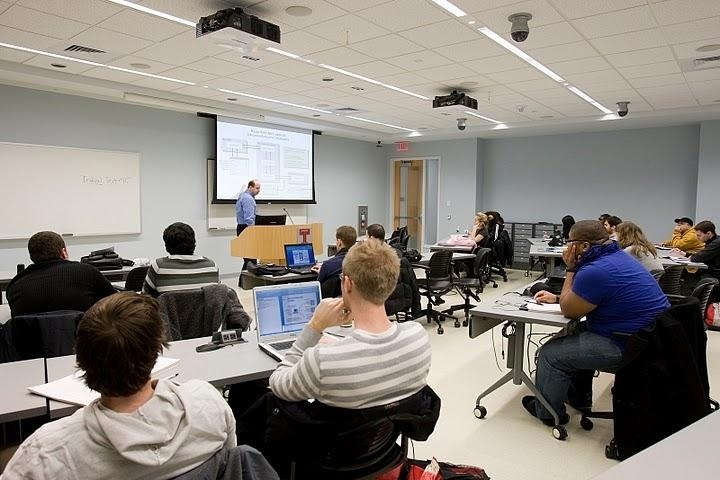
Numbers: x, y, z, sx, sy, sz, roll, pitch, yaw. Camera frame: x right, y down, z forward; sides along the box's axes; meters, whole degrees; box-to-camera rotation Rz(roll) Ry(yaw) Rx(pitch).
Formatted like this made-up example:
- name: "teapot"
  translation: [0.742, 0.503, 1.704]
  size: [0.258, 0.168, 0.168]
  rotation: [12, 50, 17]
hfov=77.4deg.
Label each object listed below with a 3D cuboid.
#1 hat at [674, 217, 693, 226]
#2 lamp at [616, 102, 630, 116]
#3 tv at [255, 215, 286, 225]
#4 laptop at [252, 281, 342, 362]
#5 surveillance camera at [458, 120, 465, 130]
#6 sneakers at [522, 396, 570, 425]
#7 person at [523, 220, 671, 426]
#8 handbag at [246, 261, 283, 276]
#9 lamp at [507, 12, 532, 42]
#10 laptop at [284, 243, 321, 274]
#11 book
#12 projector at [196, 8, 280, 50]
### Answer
- name: "hat"
  translation: [5.960, -0.354, 8.297]
  size: [0.292, 0.147, 0.193]
  rotation: [19, 8, 26]
- name: "lamp"
  translation: [4.707, -2.349, 8.053]
  size: [0.285, 0.294, 0.285]
  rotation: [2, 4, 30]
- name: "tv"
  translation: [-1.714, -0.386, 8.646]
  size: [0.457, 0.298, 0.269]
  rotation: [0, 4, -12]
- name: "laptop"
  translation: [-0.418, 0.486, 2.997]
  size: [0.582, 0.389, 0.430]
  rotation: [-3, 3, -34]
- name: "surveillance camera"
  translation: [2.060, -2.379, 9.119]
  size: [0.123, 0.232, 0.621]
  rotation: [2, 10, 16]
- name: "sneakers"
  translation: [1.568, 1.417, 3.849]
  size: [0.151, 0.171, 0.410]
  rotation: [-7, 16, -17]
- name: "person"
  translation: [1.854, 0.693, 3.637]
  size: [0.960, 1.676, 0.524]
  rotation: [3, 11, 19]
- name: "handbag"
  translation: [-1.141, 0.352, 5.567]
  size: [0.284, 0.080, 0.275]
  rotation: [-1, 3, -45]
- name: "lamp"
  translation: [1.636, -2.214, 4.689]
  size: [0.235, 0.234, 0.223]
  rotation: [-2, 6, -3]
- name: "laptop"
  translation: [-0.766, 0.213, 5.904]
  size: [0.449, 0.343, 0.305]
  rotation: [-3, 10, -39]
- name: "book"
  translation: [-1.132, 0.624, 1.975]
  size: [0.334, 0.048, 0.388]
  rotation: [8, 10, 43]
- name: "projector"
  translation: [-1.150, -2.028, 4.551]
  size: [0.421, 0.197, 0.594]
  rotation: [0, 0, 41]
